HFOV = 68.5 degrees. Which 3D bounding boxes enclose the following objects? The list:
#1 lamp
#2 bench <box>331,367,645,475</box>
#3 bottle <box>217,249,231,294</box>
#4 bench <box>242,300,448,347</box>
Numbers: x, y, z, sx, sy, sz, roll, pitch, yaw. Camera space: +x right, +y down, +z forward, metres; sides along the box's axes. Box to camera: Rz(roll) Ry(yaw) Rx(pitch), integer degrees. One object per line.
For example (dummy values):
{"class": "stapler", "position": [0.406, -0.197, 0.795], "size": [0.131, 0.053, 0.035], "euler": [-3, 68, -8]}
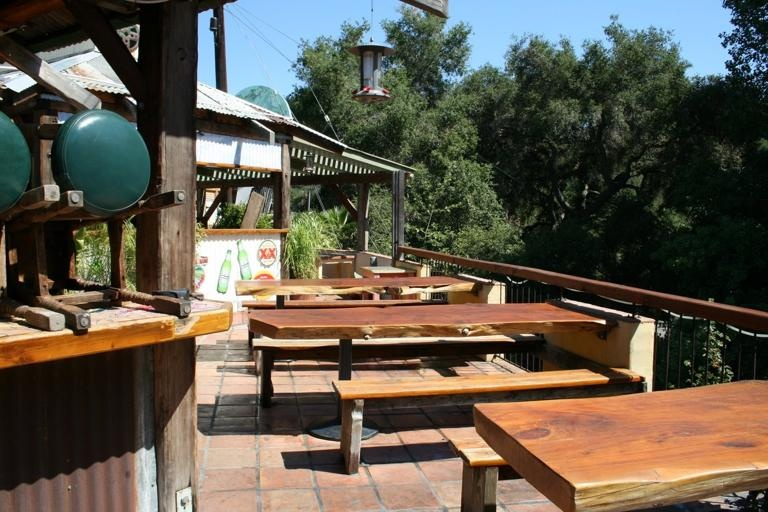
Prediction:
{"class": "lamp", "position": [-0.175, -3.112, 8.993], "size": [0.624, 1.245, 0.828], "euler": [1, 8, -3]}
{"class": "bench", "position": [0.882, 1.121, 4.123], "size": [2.387, 0.466, 0.485], "euler": [0, -3, -14]}
{"class": "bottle", "position": [-2.828, 0.281, 10.079], "size": [0.090, 0.768, 0.360], "euler": [5, 9, 24]}
{"class": "bench", "position": [-0.232, 0.581, 4.438], "size": [1.599, 0.256, 0.696], "euler": [0, 7, -10]}
